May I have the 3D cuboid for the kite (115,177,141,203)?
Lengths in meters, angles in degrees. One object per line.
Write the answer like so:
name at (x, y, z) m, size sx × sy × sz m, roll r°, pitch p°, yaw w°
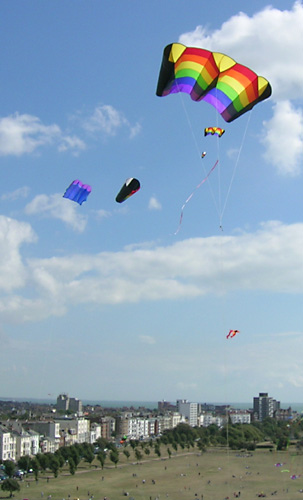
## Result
kite at (-1.552, -3.845, 44.149) m, size 1.367 × 1.226 × 1.296 m, roll 0°, pitch -12°, yaw -4°

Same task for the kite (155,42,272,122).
kite at (3.334, -9.889, 40.412) m, size 6.251 × 2.504 × 4.224 m, roll 7°, pitch -15°, yaw -34°

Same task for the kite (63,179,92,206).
kite at (-5.539, -4.092, 50.466) m, size 1.605 × 1.804 × 1.176 m, roll -3°, pitch -13°, yaw 10°

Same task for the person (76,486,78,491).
person at (-8.221, 26.437, 75.506) m, size 0.248 × 0.231 × 0.803 m, roll -10°, pitch 20°, yaw 0°
